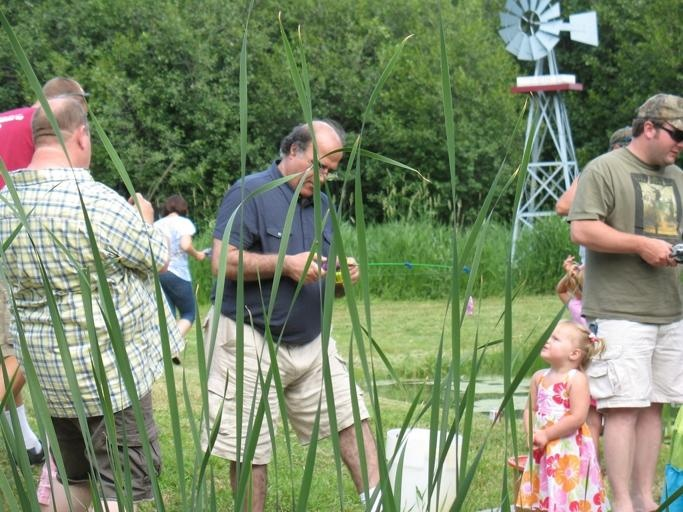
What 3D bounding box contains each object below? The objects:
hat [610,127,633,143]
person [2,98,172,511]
[{"bbox_3d":[1.852,-0.821,6.893,0.096,0.086,0.131,-6,-16,-23],"label":"hat"},{"bbox_3d":[-1.292,0.309,5.184,0.889,2.244,1.258,-2,4,-10],"label":"person"}]
